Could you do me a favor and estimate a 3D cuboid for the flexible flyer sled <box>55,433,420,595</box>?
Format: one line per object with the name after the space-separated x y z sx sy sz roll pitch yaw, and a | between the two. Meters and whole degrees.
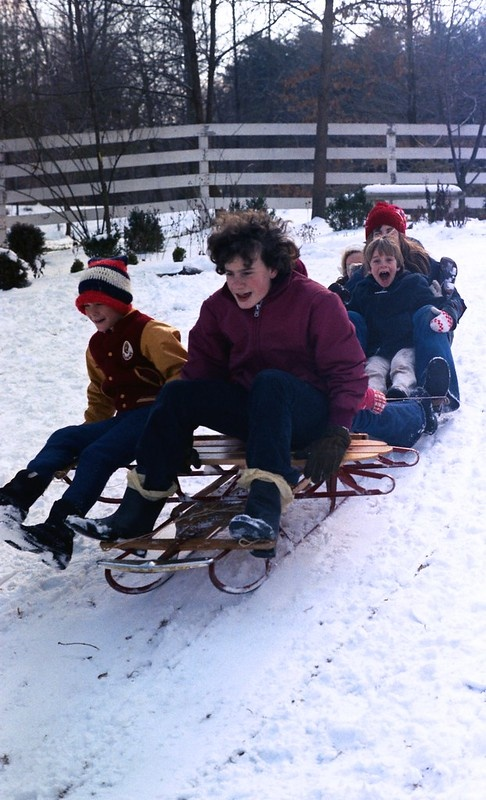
-0.090 0.482 3.273 0.873 0.247 1.043 2 17 15 | flexible flyer sled

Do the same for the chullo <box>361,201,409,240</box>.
0.969 -1.221 5.276 0.263 0.242 0.229 13 -12 -43 | chullo

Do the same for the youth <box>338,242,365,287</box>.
0.778 -0.977 5.612 0.246 0.331 0.335 2 2 5 | youth

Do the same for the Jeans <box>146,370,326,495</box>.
0.029 0.135 3.170 0.611 0.536 0.785 0 10 26 | Jeans

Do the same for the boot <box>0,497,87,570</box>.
-0.791 0.543 3.110 0.120 0.330 0.240 -15 35 30 | boot

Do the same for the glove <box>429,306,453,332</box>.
1.132 -0.445 4.468 0.107 0.140 0.068 -6 -20 -4 | glove

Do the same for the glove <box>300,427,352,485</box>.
0.324 0.214 2.993 0.135 0.222 0.067 10 -24 8 | glove

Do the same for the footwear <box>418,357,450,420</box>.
1.062 -0.057 4.342 0.131 0.381 0.162 -1 -8 10 | footwear

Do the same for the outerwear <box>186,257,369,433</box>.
0.128 -0.246 3.282 0.787 0.682 0.364 3 11 19 | outerwear

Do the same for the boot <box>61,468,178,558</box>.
-0.440 0.410 2.993 0.368 0.275 0.142 1 6 -2 | boot

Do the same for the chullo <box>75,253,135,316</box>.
-0.600 -0.534 3.647 0.246 0.270 0.272 4 -4 3 | chullo

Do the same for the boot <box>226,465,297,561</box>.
0.056 0.395 2.742 0.141 0.178 0.402 5 -33 6 | boot

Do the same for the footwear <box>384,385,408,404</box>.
0.837 -0.024 4.242 0.113 0.053 0.130 0 16 12 | footwear

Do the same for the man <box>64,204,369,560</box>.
-0.026 -0.075 3.145 0.957 1.325 1.012 -2 -10 23 | man

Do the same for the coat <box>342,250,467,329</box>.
1.193 -0.769 4.949 0.558 0.253 0.698 13 34 17 | coat

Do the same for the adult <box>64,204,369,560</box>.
-0.072 -0.083 3.111 1.028 1.318 1.054 0 -10 13 | adult

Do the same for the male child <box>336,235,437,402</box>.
0.859 -0.436 4.781 0.684 1.109 0.668 -4 6 8 | male child
